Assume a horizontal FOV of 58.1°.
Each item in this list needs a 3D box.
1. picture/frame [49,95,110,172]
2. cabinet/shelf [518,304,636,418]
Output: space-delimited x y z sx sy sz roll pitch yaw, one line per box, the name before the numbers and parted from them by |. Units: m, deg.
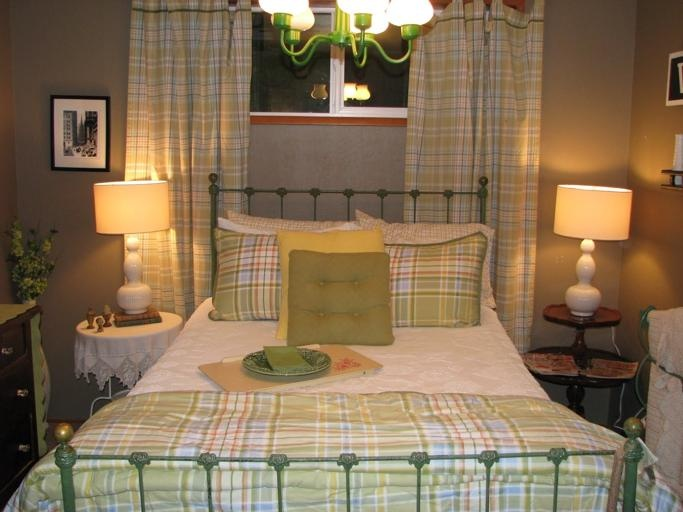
picture/frame | -1.602 -0.773 3.749 0.409 0.538 0.034 1 9 1
cabinet/shelf | 1.342 0.555 3.563 0.602 0.657 0.613 4 13 39
